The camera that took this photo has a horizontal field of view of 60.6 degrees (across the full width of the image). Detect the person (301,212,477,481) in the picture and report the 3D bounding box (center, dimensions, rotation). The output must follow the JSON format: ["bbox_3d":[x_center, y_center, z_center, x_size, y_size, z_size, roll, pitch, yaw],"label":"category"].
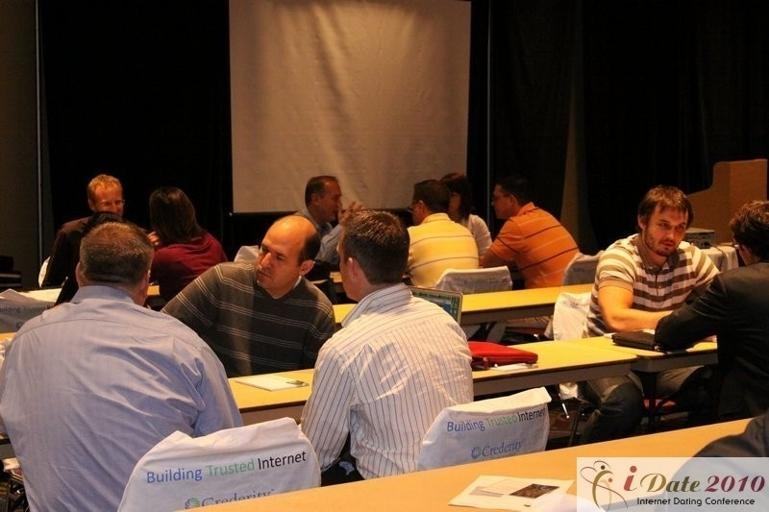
[{"bbox_3d":[-0.038,0.330,2.536,0.664,0.952,0.732,-7,15,-11],"label":"person"}]
